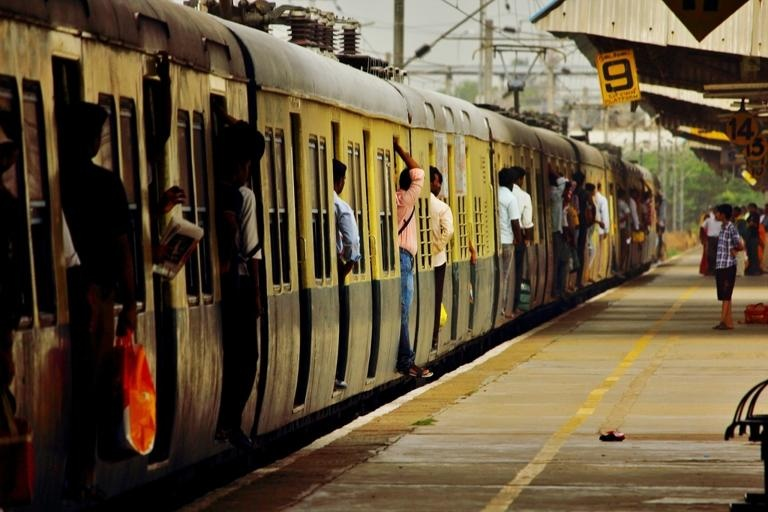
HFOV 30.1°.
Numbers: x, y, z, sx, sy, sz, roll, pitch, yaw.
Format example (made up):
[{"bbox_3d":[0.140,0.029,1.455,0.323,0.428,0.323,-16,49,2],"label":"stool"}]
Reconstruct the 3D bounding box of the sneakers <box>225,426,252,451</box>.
[{"bbox_3d":[-1.162,1.526,11.774,0.148,0.081,0.208,23,-11,22],"label":"sneakers"}]

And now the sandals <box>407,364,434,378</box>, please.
[{"bbox_3d":[0.443,1.410,17.242,0.285,0.170,0.691,2,-2,2],"label":"sandals"}]
